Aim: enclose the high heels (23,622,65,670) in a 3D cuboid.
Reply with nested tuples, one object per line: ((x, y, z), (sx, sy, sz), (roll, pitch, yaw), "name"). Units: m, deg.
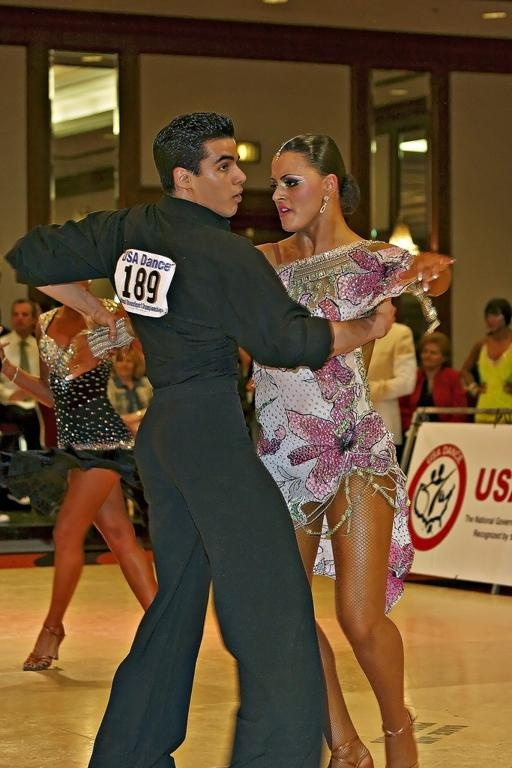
((-0.962, 1.205, 3.182), (0.106, 0.150, 0.310), (-5, -4, 12), "high heels")
